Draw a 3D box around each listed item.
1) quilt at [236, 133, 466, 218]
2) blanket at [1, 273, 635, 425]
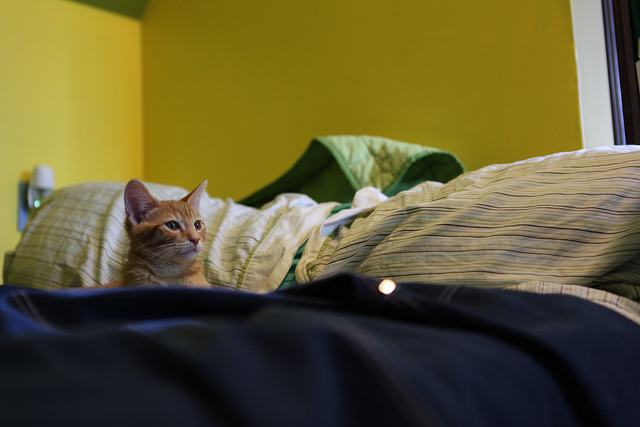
[{"bbox_3d":[0.230,-0.259,2.589,1.089,0.356,0.613,-4,9,32],"label":"quilt"},{"bbox_3d":[-0.008,0.230,1.013,1.118,0.248,0.210,4,-1,-3],"label":"blanket"}]
